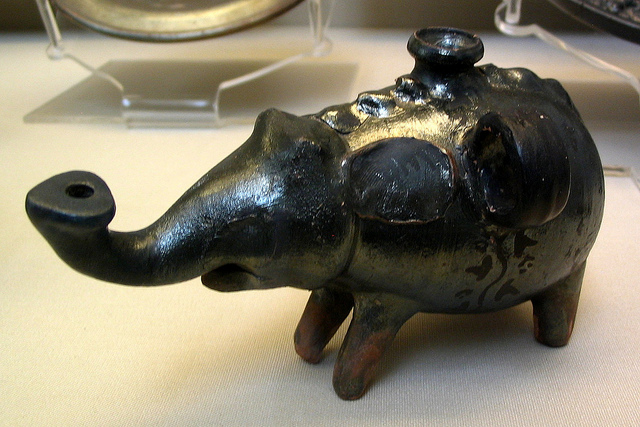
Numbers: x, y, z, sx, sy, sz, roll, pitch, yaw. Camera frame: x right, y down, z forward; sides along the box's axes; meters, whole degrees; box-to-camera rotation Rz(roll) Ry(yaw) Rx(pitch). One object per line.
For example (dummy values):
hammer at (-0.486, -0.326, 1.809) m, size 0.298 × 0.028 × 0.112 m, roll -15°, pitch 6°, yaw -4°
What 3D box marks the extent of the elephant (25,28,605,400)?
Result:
elephant at (0.056, 0.022, 1.310) m, size 1.106 × 0.637 × 0.604 m, roll -7°, pitch 23°, yaw -17°
